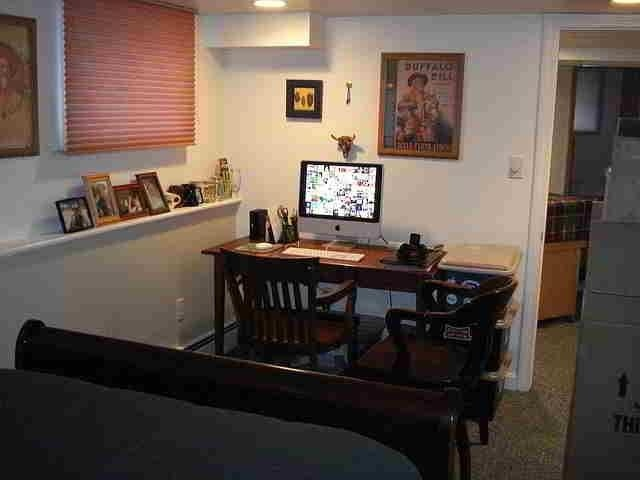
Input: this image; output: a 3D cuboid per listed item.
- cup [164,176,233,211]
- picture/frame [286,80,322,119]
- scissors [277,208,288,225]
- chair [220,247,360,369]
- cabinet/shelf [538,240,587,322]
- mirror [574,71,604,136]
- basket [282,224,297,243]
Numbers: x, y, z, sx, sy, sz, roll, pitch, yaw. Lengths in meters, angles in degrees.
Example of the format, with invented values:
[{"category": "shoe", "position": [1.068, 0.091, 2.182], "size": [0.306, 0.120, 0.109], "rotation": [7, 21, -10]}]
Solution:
[{"category": "cup", "position": [-0.861, -0.336, 3.487], "size": [0.146, 0.174, 0.475], "rotation": [11, 21, 33]}, {"category": "picture/frame", "position": [-0.105, -1.022, 3.522], "size": [0.272, 0.283, 0.029], "rotation": [3, 7, 15]}, {"category": "scissors", "position": [-0.266, -0.171, 3.548], "size": [0.083, 0.102, 0.074], "rotation": [4, -1, -7]}, {"category": "chair", "position": [-0.173, 0.465, 2.895], "size": [0.597, 0.861, 0.621], "rotation": [1, 9, 20]}, {"category": "cabinet/shelf", "position": [2.154, 0.333, 4.644], "size": [0.509, 0.673, 0.547], "rotation": [-5, 14, 10]}, {"category": "mirror", "position": [2.673, -1.380, 4.841], "size": [0.246, 0.675, 0.079], "rotation": [16, 47, 40]}, {"category": "basket", "position": [-0.220, -0.040, 3.587], "size": [0.115, 0.125, 0.117], "rotation": [2, 6, 1]}]
